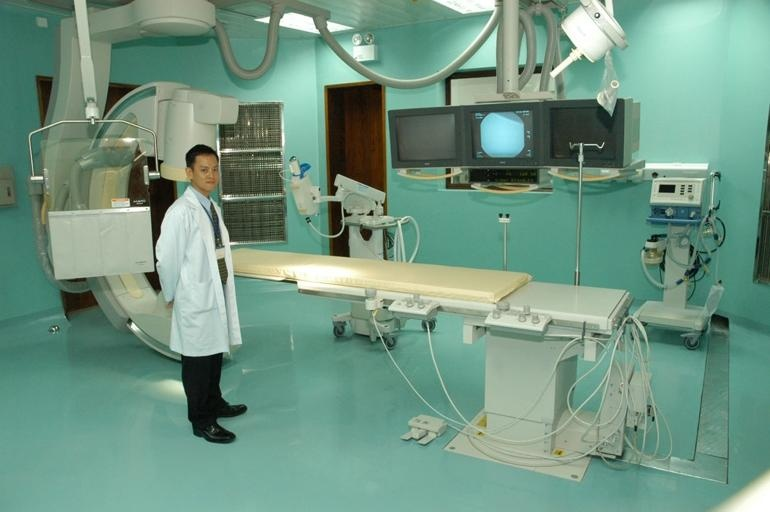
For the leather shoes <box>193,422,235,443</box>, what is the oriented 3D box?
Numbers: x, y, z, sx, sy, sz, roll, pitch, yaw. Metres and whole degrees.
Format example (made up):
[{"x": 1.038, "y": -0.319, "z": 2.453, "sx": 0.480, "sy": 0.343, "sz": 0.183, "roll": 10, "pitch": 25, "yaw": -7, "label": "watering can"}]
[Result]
[{"x": -1.253, "y": 1.300, "z": 4.116, "sx": 0.267, "sy": 0.111, "sz": 0.141, "roll": 4, "pitch": 11, "yaw": 9, "label": "leather shoes"}]

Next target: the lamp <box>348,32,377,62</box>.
[{"x": -0.264, "y": -2.670, "z": 7.190, "sx": 0.326, "sy": 0.372, "sz": 0.184, "roll": 0, "pitch": 12, "yaw": 9, "label": "lamp"}]

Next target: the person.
[{"x": -1.350, "y": 0.271, "z": 4.130, "sx": 0.502, "sy": 2.120, "sz": 0.506, "roll": -1, "pitch": 12, "yaw": 3, "label": "person"}]

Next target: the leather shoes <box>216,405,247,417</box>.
[{"x": -1.187, "y": 1.202, "z": 4.395, "sx": 0.240, "sy": 0.102, "sz": 0.088, "roll": -4, "pitch": 16, "yaw": -9, "label": "leather shoes"}]

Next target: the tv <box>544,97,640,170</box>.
[{"x": 1.505, "y": -0.881, "z": 4.115, "sx": 0.473, "sy": 0.426, "sz": 0.673, "roll": 6, "pitch": 13, "yaw": 37, "label": "tv"}]
